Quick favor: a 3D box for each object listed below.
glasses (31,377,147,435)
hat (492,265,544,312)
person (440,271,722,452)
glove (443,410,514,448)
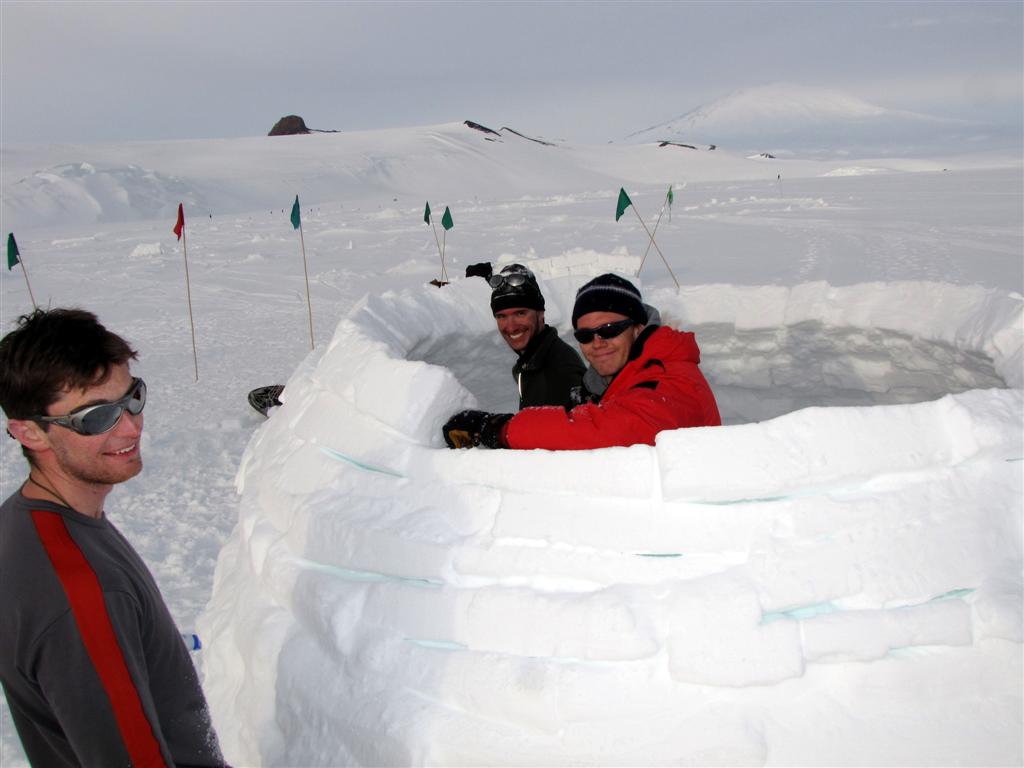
[{"bbox_3d":[-1.176,0.043,3.080,0.197,0.061,0.185,2,21,22],"label":"glasses"},{"bbox_3d":[0.030,-0.421,5.024,0.219,0.183,0.225,-1,-4,18],"label":"hat"},{"bbox_3d":[0.303,-0.053,3.948,0.835,0.518,0.998,1,17,28],"label":"person"},{"bbox_3d":[-0.118,0.141,3.819,0.202,0.073,0.123,4,20,18],"label":"glove"}]
